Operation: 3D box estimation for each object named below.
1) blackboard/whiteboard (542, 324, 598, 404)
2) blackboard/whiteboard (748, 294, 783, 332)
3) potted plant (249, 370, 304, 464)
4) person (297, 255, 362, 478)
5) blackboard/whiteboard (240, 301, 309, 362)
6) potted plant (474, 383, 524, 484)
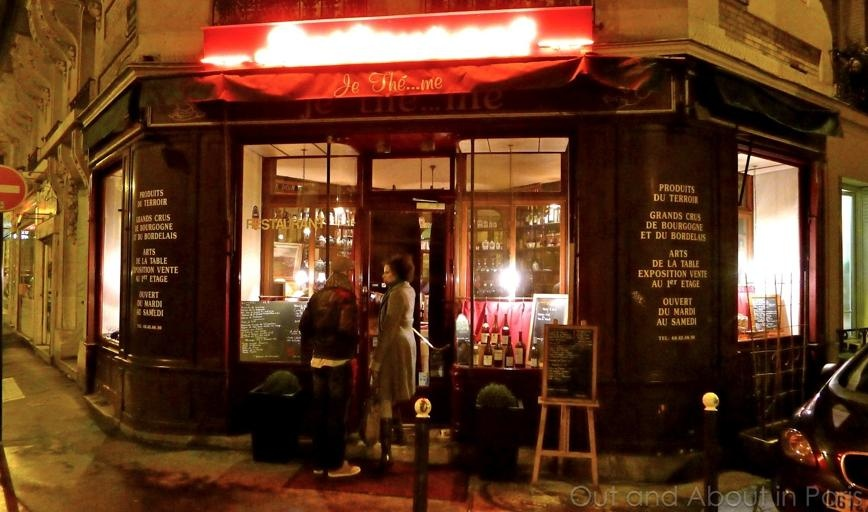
[{"bbox_3d":[2.159,1.713,12.560,0.826,1.196,0.184,0,-8,11],"label":"blackboard/whiteboard"},{"bbox_3d":[6.018,1.064,14.348,0.668,0.743,0.080,2,-6,-5],"label":"blackboard/whiteboard"},{"bbox_3d":[-2.683,2.725,13.257,0.871,1.497,0.290,1,-8,3],"label":"potted plant"},{"bbox_3d":[-1.593,1.860,13.172,1.190,3.618,1.153,1,1,-31],"label":"person"},{"bbox_3d":[-2.890,1.363,13.997,1.304,1.021,0.438,0,-1,16],"label":"blackboard/whiteboard"},{"bbox_3d":[1.045,2.894,12.864,0.712,1.531,0.665,1,-1,0],"label":"potted plant"}]
